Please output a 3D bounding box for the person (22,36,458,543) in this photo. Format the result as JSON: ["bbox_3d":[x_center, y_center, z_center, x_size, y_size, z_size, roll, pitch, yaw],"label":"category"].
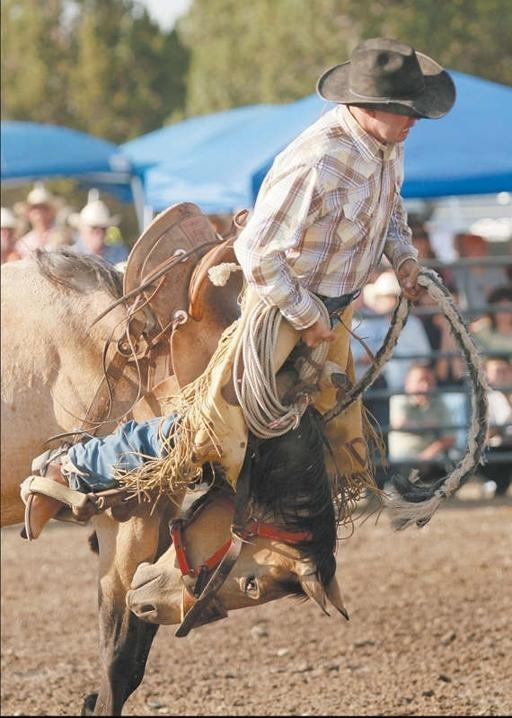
[{"bbox_3d":[0.002,-0.224,3.094,1.139,1.251,0.425,-3,10,5],"label":"person"}]

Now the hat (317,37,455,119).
[{"bbox_3d":[0.324,-0.703,2.981,0.337,0.113,0.251,16,52,6],"label":"hat"}]
